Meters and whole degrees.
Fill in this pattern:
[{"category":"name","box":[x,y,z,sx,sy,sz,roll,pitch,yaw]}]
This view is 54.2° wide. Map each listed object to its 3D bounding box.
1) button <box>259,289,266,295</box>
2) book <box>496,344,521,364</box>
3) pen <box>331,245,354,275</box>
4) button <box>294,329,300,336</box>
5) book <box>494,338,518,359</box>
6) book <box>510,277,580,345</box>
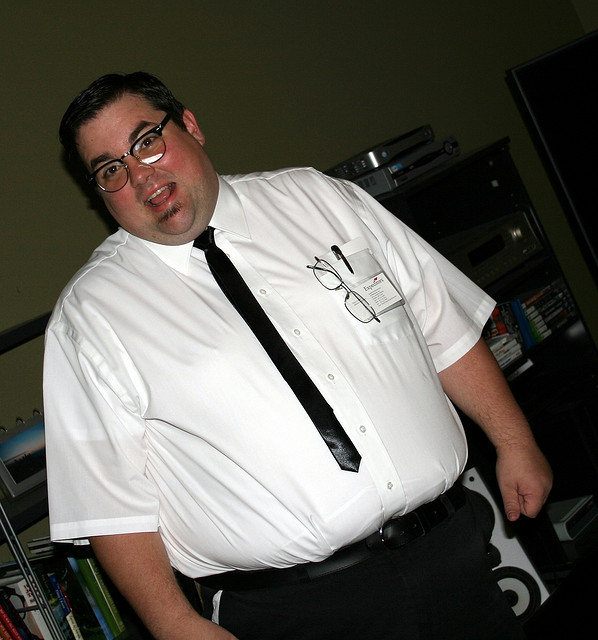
[{"category":"button","box":[-0.066,-0.051,1.057,0.011,0.011,0.003,-32,-4,-7]},{"category":"book","box":[0.708,0.121,1.996,0.073,0.015,0.070,-21,-2,-41]},{"category":"pen","box":[0.084,-0.113,1.118,0.015,0.071,0.035,-38,-4,11]},{"category":"button","box":[-0.004,0.023,1.027,0.011,0.013,0.001,-31,-6,-26]},{"category":"book","box":[0.701,0.098,1.989,0.078,0.016,0.072,-25,0,-8]},{"category":"book","box":[0.993,-0.054,2.264,0.089,0.201,0.295,-19,-19,-15]}]
